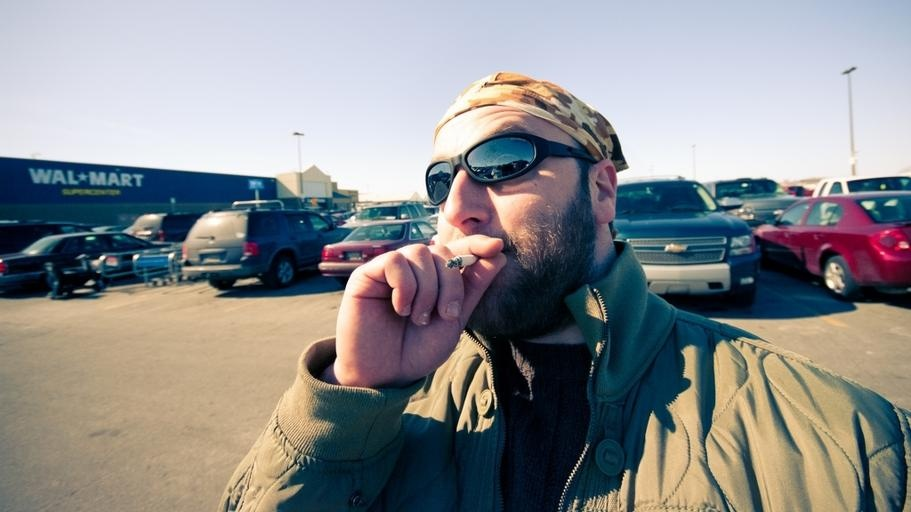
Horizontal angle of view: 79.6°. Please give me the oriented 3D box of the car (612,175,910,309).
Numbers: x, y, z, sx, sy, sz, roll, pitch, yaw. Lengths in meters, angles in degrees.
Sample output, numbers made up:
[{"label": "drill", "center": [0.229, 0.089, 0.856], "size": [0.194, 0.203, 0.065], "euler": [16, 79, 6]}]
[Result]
[{"label": "car", "center": [4.430, -0.350, 10.653], "size": [2.733, 1.948, 4.211], "euler": [0, 4, 16]}]

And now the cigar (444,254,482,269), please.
[{"label": "cigar", "center": [0.077, 0.048, 4.947], "size": [0.278, 0.086, 0.054], "euler": [-17, 18, -23]}]
